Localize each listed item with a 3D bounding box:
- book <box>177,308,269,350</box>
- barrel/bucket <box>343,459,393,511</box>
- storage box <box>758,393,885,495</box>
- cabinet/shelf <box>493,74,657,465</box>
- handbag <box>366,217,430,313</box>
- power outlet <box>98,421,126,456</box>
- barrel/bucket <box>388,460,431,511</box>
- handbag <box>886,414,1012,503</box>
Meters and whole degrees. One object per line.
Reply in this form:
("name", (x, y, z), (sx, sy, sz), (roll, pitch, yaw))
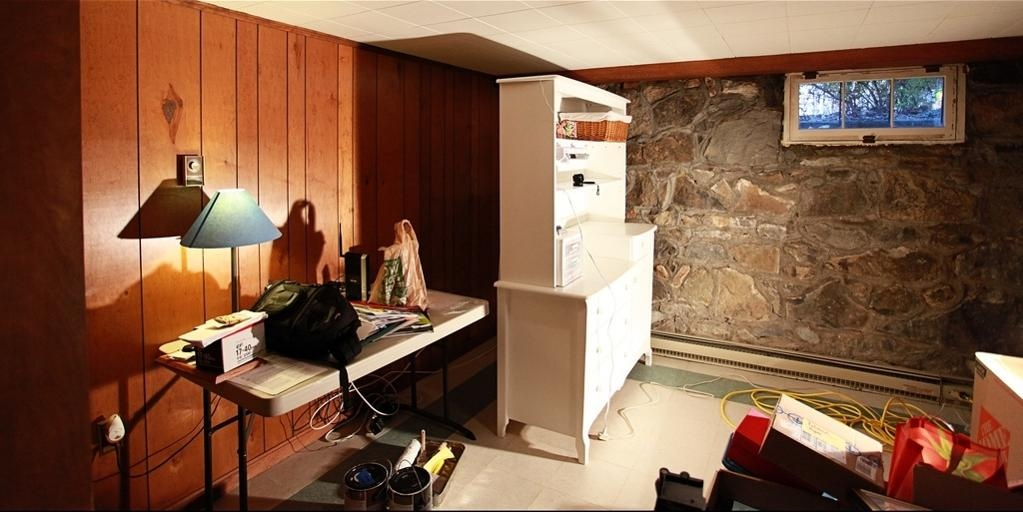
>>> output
("book", (-2.141, 0.532, 4.746), (0.386, 0.072, 0.371), (4, 12, 31))
("barrel/bucket", (-1.146, 1.863, 5.192), (0.427, 0.323, 0.366), (7, 17, 16))
("storage box", (2.041, 1.255, 4.144), (0.738, 0.503, 0.442), (4, 12, 20))
("cabinet/shelf", (0.552, 0.033, 5.975), (1.100, 3.334, 1.506), (5, 13, 25))
("handbag", (-0.974, 0.058, 5.610), (0.684, 0.696, 0.717), (8, 7, 13))
("power outlet", (-3.000, 1.355, 4.773), (0.187, 0.256, 0.066), (-7, 14, -29))
("barrel/bucket", (-0.797, 1.871, 5.143), (0.333, 0.288, 0.343), (-1, 18, 0))
("handbag", (2.953, 1.376, 4.234), (0.836, 0.623, 0.378), (7, -25, -3))
